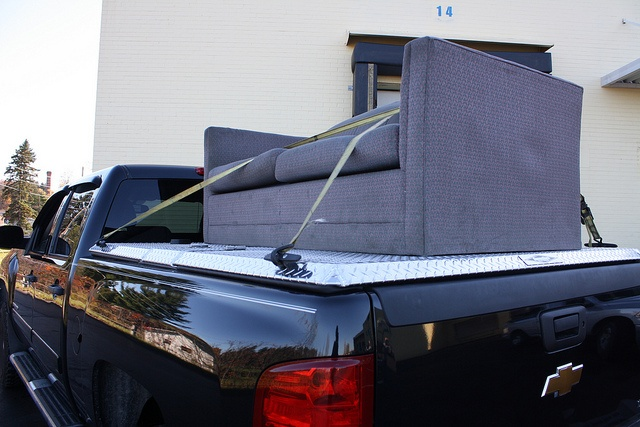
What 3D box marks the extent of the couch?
[{"bbox_3d":[0.279,-0.276,3.298,1.363,0.954,2.301,1,-2,-36],"label":"couch"}]
